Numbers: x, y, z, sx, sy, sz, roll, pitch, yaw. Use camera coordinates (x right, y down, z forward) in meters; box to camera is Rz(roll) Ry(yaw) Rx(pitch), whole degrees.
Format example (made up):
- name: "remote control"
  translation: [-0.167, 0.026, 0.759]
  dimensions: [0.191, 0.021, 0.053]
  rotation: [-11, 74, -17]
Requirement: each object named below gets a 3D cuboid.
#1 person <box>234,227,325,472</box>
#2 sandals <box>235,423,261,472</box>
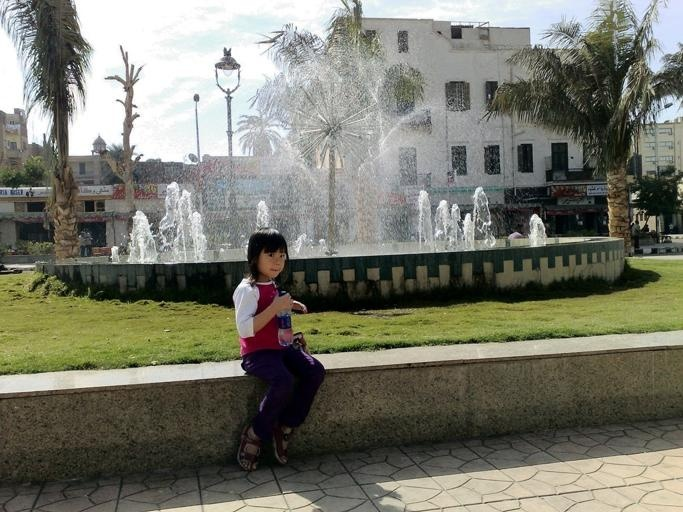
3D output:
- name: "person"
  translation: [-0.538, 0.776, 6.135]
  dimensions: [0.713, 1.889, 0.658]
  rotation: [-1, 12, -3]
- name: "sandals"
  translation: [-0.776, 1.583, 6.053]
  dimensions: [0.218, 0.365, 0.199]
  rotation: [-2, 13, -8]
